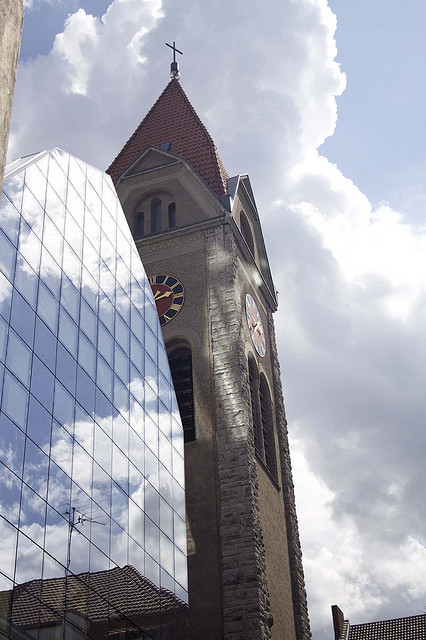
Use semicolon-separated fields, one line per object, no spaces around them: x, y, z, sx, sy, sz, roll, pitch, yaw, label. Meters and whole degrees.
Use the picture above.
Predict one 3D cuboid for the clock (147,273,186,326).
-2.271;-0.874;32.629;2.289;2.200;0.110;-6;-13;24;clock
